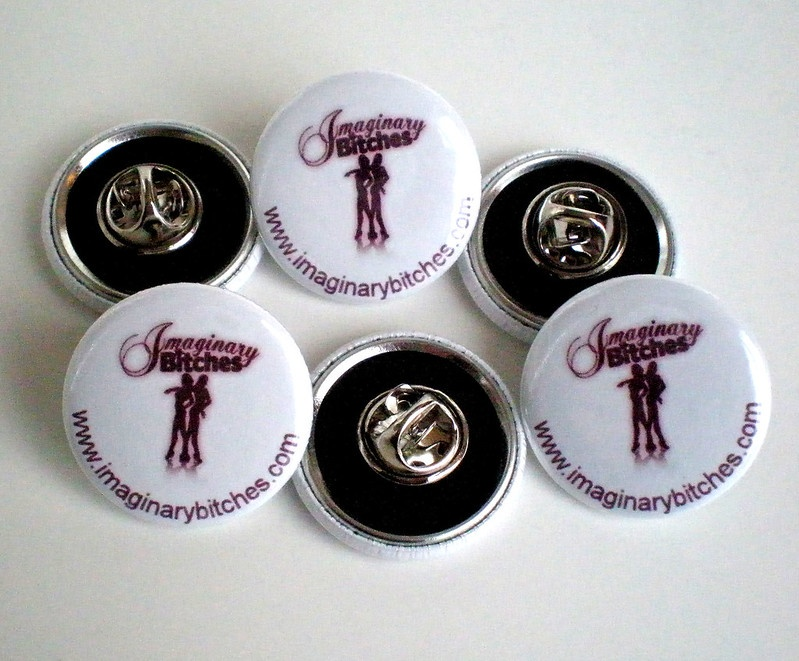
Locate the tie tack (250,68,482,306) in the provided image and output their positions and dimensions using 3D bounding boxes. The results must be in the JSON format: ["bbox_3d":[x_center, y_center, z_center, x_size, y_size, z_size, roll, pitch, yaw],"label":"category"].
[{"bbox_3d":[-0.059,-0.231,1.771,0.354,0.214,0.291,9,53,-10],"label":"tie tack"}]

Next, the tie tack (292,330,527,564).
[{"bbox_3d":[0.019,0.182,1.720,0.337,0.143,0.322,12,53,-8],"label":"tie tack"}]

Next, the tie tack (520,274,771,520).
[{"bbox_3d":[0.384,0.110,1.728,0.330,0.213,0.305,3,54,-14],"label":"tie tack"}]
